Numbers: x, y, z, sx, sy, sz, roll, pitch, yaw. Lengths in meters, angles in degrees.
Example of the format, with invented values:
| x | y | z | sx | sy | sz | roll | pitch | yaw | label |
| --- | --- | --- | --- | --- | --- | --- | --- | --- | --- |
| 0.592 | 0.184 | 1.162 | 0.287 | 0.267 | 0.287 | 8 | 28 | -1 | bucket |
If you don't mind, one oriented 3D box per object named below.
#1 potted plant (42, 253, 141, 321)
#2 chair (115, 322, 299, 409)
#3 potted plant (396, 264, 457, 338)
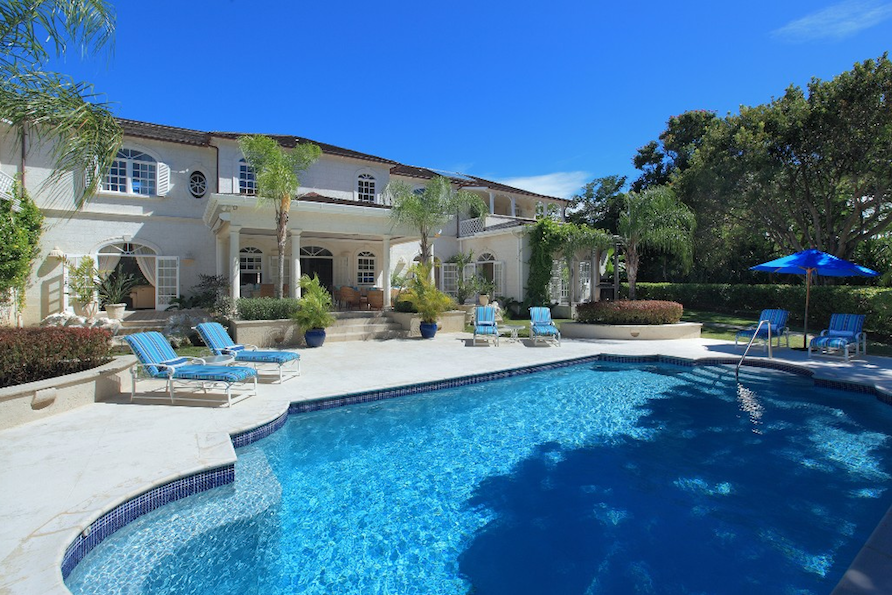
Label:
| x | y | z | sx | sy | sz | roll | pitch | yaw | label |
| --- | --- | --- | --- | --- | --- | --- | --- | --- | --- |
| -13.480 | -0.392 | 21.704 | 2.787 | 2.130 | 2.519 | -1 | -2 | 14 | potted plant |
| -6.172 | 1.570 | 14.247 | 4.407 | 1.507 | 3.141 | 1 | 3 | 10 | chair |
| -0.899 | 0.085 | 22.131 | 2.693 | 3.617 | 2.632 | 1 | -8 | -14 | potted plant |
